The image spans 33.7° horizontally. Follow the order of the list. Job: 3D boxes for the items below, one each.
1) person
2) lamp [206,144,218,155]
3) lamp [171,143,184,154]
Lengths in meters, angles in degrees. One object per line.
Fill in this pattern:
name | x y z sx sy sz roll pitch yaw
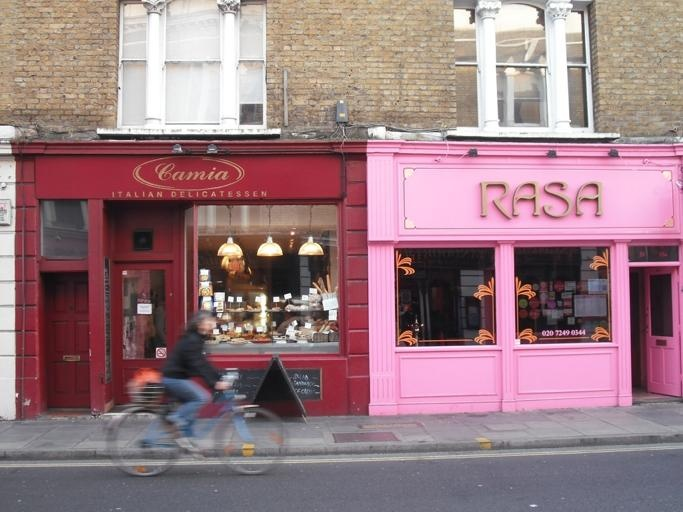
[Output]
person | -2.563 2.146 19.061 1.045 2.375 0.597 -2 2 5
lamp | -2.588 -2.092 22.149 0.194 0.146 0.176 0 1 -6
lamp | -3.296 -2.112 22.148 0.240 0.197 0.106 1 -6 -9
